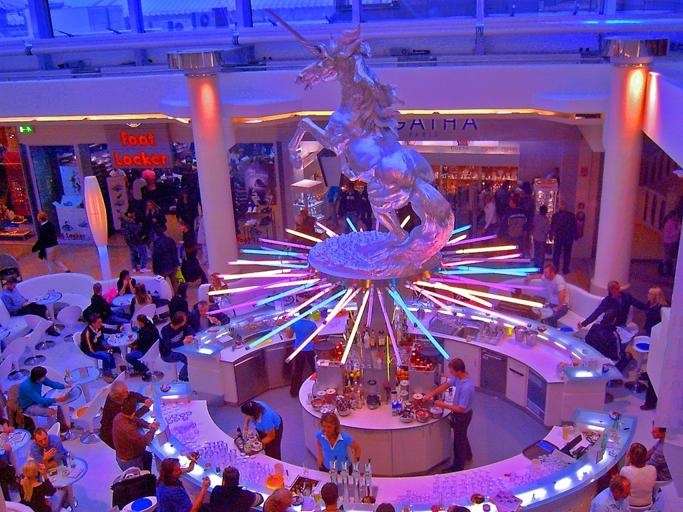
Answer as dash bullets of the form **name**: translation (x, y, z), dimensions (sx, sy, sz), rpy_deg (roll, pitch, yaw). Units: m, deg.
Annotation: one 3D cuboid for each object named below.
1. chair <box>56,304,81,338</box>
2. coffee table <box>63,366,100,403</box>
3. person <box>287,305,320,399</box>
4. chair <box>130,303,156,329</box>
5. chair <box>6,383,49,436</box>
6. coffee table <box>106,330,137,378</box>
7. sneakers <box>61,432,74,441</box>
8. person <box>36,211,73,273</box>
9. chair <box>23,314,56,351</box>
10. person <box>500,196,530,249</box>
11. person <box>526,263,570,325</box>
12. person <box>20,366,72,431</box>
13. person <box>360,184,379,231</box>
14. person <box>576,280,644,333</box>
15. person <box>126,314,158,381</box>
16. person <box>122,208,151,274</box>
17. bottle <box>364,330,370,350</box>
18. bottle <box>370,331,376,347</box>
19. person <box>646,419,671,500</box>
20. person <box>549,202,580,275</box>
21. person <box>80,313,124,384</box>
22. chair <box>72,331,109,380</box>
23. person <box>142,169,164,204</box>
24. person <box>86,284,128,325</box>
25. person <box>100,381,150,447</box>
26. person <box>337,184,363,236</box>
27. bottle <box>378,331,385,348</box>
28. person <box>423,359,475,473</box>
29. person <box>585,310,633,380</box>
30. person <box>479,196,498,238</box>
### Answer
- **chair**: translation (-5.829, 1.396, 10.510), dimensions (0.446, 0.617, 0.423), rpy_deg (-11, 46, -25)
- **coffee table**: translation (-4.258, 2.119, 8.065), dimensions (0.447, 0.479, 0.432), rpy_deg (-6, 34, -11)
- **person**: translation (-0.618, 1.635, 8.330), dimensions (0.600, 1.399, 0.405), rpy_deg (0, 17, 2)
- **chair**: translation (-3.790, 1.126, 9.361), dimensions (0.311, 0.428, 0.313), rpy_deg (-9, 34, -30)
- **chair**: translation (-4.573, 2.226, 7.132), dimensions (0.492, 0.668, 0.460), rpy_deg (11, 43, 5)
- **coffee table**: translation (-4.047, 1.808, 9.057), dimensions (0.639, 0.746, 0.596), rpy_deg (2, 32, -7)
- **sneakers**: translation (-4.265, 2.795, 7.649), dimensions (0.133, 0.124, 0.130), rpy_deg (9, 35, 2)
- **person**: translation (-7.531, -0.349, 12.636), dimensions (0.694, 1.614, 1.386), rpy_deg (-8, 11, -32)
- **chair**: translation (-6.158, 1.564, 9.985), dimensions (0.487, 0.680, 0.492), rpy_deg (10, 36, 0)
- **person**: translation (4.243, -0.838, 11.996), dimensions (0.640, 1.369, 0.610), rpy_deg (-8, 12, -35)
- **person**: translation (3.891, 0.747, 9.279), dimensions (0.611, 1.221, 0.737), rpy_deg (-17, 22, -19)
- **person**: translation (-4.459, 2.187, 7.319), dimensions (0.706, 0.926, 0.466), rpy_deg (1, 8, -39)
- **person**: translation (0.725, -1.358, 13.382), dimensions (0.426, 1.277, 0.896), rpy_deg (-1, 10, 3)
- **person**: translation (4.875, 0.935, 8.955), dimensions (0.821, 0.848, 0.255), rpy_deg (-13, 22, -14)
- **person**: translation (-3.656, 1.623, 8.962), dimensions (0.732, 1.269, 0.464), rpy_deg (7, 13, 43)
- **person**: translation (-5.344, -0.362, 12.800), dimensions (0.617, 1.678, 0.518), rpy_deg (-5, 27, -12)
- **bottle**: translation (0.363, 1.174, 6.945), dimensions (0.075, 0.206, 0.155), rpy_deg (-1, 10, 4)
- **bottle**: translation (0.465, 1.188, 7.052), dimensions (0.098, 0.217, 0.086), rpy_deg (-1, 10, 3)
- **person**: translation (3.676, 2.347, 5.818), dimensions (0.401, 0.712, 0.258), rpy_deg (3, 2, 34)
- **person**: translation (5.377, -0.466, 11.873), dimensions (0.522, 1.724, 1.397), rpy_deg (3, 11, 25)
- **person**: translation (-4.389, 1.679, 9.042), dimensions (0.812, 1.252, 0.521), rpy_deg (3, 14, -3)
- **chair**: translation (-4.488, 1.684, 9.020), dimensions (0.705, 1.131, 0.445), rpy_deg (4, 6, 2)
- **person**: translation (-5.674, -2.084, 14.595), dimensions (0.491, 1.028, 0.910), rpy_deg (-3, 10, -10)
- **person**: translation (-4.752, 1.050, 10.021), dimensions (0.614, 1.013, 0.418), rpy_deg (-10, 22, -28)
- **person**: translation (-2.841, 2.041, 6.526), dimensions (0.619, 0.817, 0.449), rpy_deg (-4, 20, -20)
- **person**: translation (0.259, -1.277, 13.408), dimensions (0.623, 1.985, 0.448), rpy_deg (3, 47, 4)
- **bottle**: translation (0.574, 1.189, 7.010), dimensions (0.102, 0.199, 0.083), rpy_deg (3, 11, 27)
- **person**: translation (1.431, 2.078, 6.455), dimensions (0.693, 1.437, 0.462), rpy_deg (-5, 15, -7)
- **person**: translation (4.277, 1.410, 7.838), dimensions (0.550, 0.992, 0.662), rpy_deg (-28, 45, -27)
- **person**: translation (3.828, -1.119, 12.639), dimensions (0.397, 1.027, 0.632), rpy_deg (1, 10, 16)
